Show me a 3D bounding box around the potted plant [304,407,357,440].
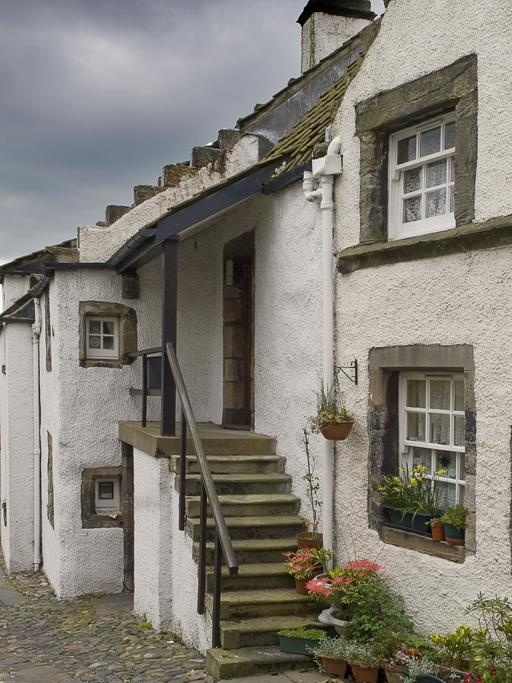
[{"bbox_3d":[0.552,0.609,6.868,0.252,0.182,0.270,2,-4,-35],"label":"potted plant"}]

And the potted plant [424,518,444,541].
[{"bbox_3d":[1.155,1.206,5.962,0.122,0.117,0.126,-1,-6,0],"label":"potted plant"}]

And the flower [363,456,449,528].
[{"bbox_3d":[1.028,1.033,6.300,0.434,0.266,0.370,-1,-2,22],"label":"flower"}]

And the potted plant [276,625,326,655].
[{"bbox_3d":[0.293,2.002,6.203,0.203,0.095,0.197,1,-2,-15],"label":"potted plant"}]

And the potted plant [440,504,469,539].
[{"bbox_3d":[1.237,1.135,5.791,0.209,0.202,0.190,4,-12,-19],"label":"potted plant"}]
